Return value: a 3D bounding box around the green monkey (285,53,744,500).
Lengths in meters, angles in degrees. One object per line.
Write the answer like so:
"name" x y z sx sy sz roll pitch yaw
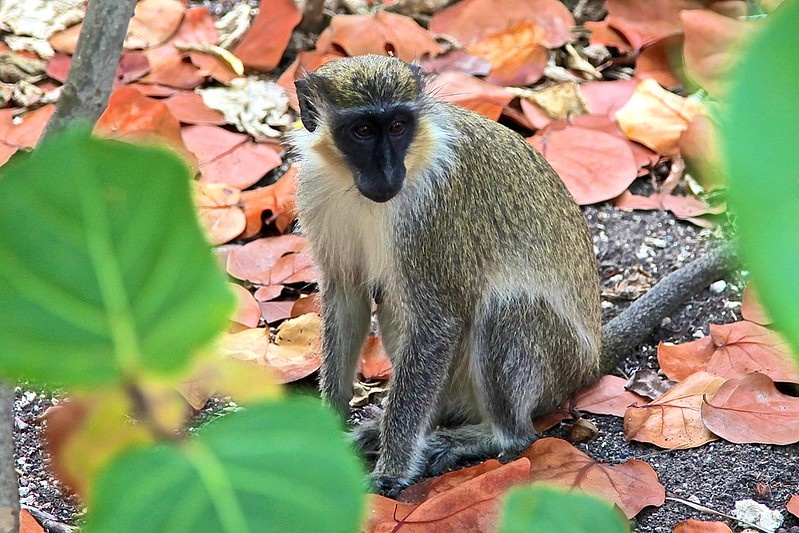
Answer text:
"green monkey" 0.227 0.030 2.858 1.071 1.324 0.914 -7 41 -9
